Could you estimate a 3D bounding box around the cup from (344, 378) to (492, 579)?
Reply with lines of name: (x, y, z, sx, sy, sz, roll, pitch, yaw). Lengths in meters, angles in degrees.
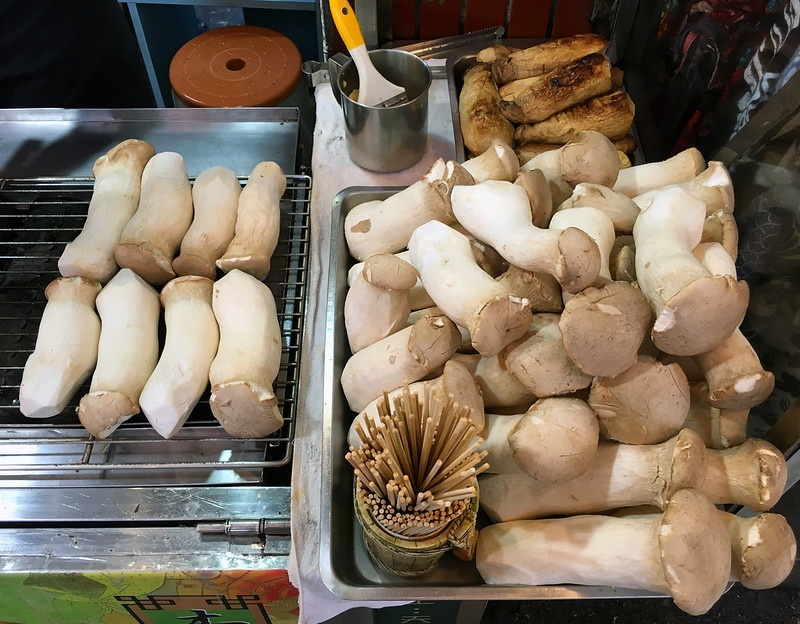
cup: (0.030, 0.281, 1.122, 0.222, 0.305, 0.275, 7, 62, 6)

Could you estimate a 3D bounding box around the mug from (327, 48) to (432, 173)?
mug: (-0.061, -0.518, 1.736, 0.372, 0.269, 0.261, -5, 98, -37)

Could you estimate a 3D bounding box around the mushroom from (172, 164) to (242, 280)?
mushroom: (-0.408, -0.197, 1.503, 0.127, 0.098, 0.246, 7, 62, 4)

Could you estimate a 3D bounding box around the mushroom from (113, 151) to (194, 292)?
mushroom: (-0.555, -0.237, 1.529, 0.157, 0.095, 0.300, 2, 61, -10)

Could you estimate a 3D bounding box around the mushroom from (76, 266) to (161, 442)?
mushroom: (-0.577, 0.083, 1.356, 0.144, 0.117, 0.341, 10, 60, -26)

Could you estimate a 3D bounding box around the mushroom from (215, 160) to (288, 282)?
mushroom: (-0.331, -0.208, 1.493, 0.099, 0.086, 0.288, 13, 53, -7)
